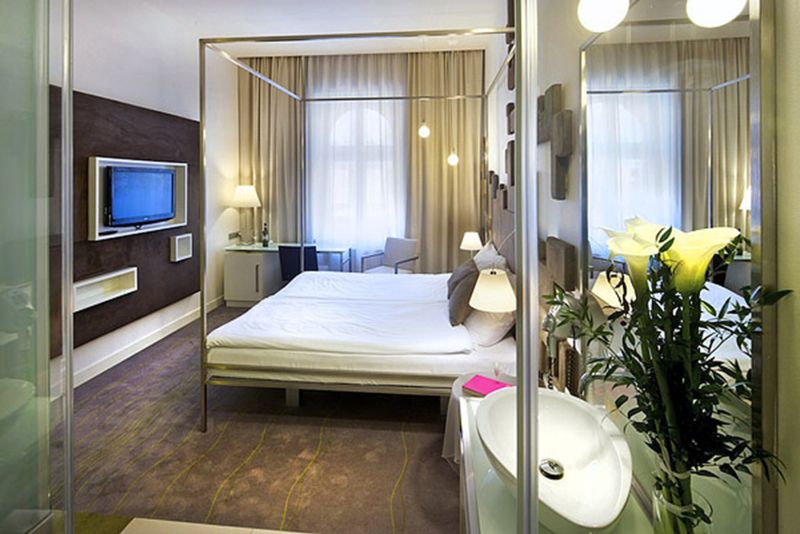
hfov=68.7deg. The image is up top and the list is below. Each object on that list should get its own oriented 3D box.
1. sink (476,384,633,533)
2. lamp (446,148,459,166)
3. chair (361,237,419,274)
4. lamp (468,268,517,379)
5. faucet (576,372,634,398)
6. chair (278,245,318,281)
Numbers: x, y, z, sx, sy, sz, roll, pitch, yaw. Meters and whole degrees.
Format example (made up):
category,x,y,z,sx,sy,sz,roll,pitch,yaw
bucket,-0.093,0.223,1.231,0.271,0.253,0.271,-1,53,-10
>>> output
category,x,y,z,sx,sy,sz,roll,pitch,yaw
sink,0.459,0.519,1.639,0.306,0.108,0.396,-7,29,-10
lamp,0.449,-0.905,4.941,0.108,0.162,0.110,7,10,38
chair,-0.101,-0.098,5.214,0.360,0.501,0.361,5,7,36
lamp,0.455,0.273,2.880,0.258,0.491,0.267,1,-1,12
faucet,0.531,0.303,1.508,0.109,0.047,0.113,16,-12,-14
chair,-0.882,-0.046,4.966,0.252,0.403,0.323,1,5,8
